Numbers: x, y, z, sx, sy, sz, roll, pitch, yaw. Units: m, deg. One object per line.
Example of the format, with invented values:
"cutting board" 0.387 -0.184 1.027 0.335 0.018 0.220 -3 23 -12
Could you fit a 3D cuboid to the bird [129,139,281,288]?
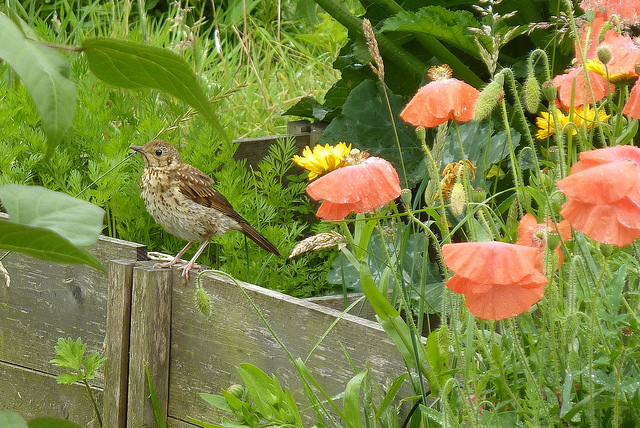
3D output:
"bird" -0.371 -0.011 2.458 0.575 0.406 0.197 6 -9 -34
